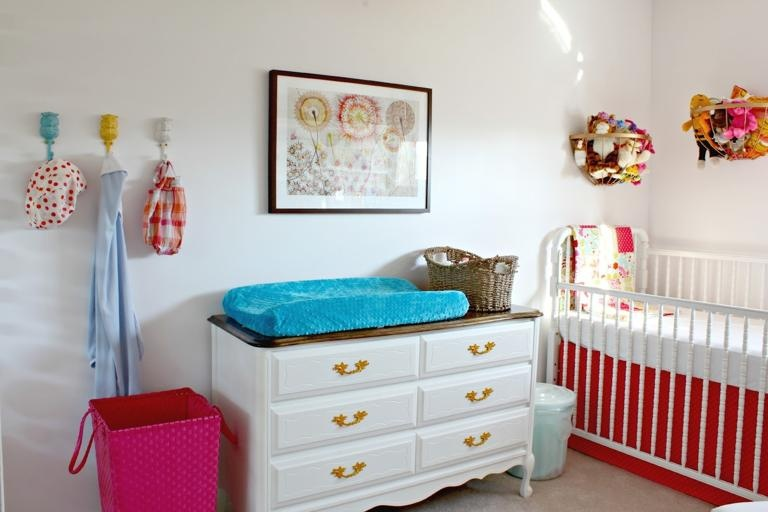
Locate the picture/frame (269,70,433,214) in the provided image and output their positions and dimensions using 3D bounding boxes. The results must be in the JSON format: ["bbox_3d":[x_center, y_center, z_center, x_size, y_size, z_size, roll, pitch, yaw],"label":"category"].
[{"bbox_3d":[-0.231,-0.660,3.270,0.900,0.632,0.036,-1,2,-29],"label":"picture/frame"}]

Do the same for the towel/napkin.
[{"bbox_3d":[-1.350,0.096,2.812,0.252,1.197,0.161,-3,8,-24],"label":"towel/napkin"}]

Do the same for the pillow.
[{"bbox_3d":[-0.182,0.258,2.907,0.920,0.156,0.488,0,5,-30],"label":"pillow"}]

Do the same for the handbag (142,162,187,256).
[{"bbox_3d":[-1.118,-0.249,2.899,0.195,0.467,0.117,-3,8,-23],"label":"handbag"}]

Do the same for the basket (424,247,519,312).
[{"bbox_3d":[0.511,0.123,3.439,0.388,0.317,0.576,0,6,-39],"label":"basket"}]

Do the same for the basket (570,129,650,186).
[{"bbox_3d":[1.602,-0.660,4.107,0.548,0.323,0.562,5,-2,37],"label":"basket"}]
